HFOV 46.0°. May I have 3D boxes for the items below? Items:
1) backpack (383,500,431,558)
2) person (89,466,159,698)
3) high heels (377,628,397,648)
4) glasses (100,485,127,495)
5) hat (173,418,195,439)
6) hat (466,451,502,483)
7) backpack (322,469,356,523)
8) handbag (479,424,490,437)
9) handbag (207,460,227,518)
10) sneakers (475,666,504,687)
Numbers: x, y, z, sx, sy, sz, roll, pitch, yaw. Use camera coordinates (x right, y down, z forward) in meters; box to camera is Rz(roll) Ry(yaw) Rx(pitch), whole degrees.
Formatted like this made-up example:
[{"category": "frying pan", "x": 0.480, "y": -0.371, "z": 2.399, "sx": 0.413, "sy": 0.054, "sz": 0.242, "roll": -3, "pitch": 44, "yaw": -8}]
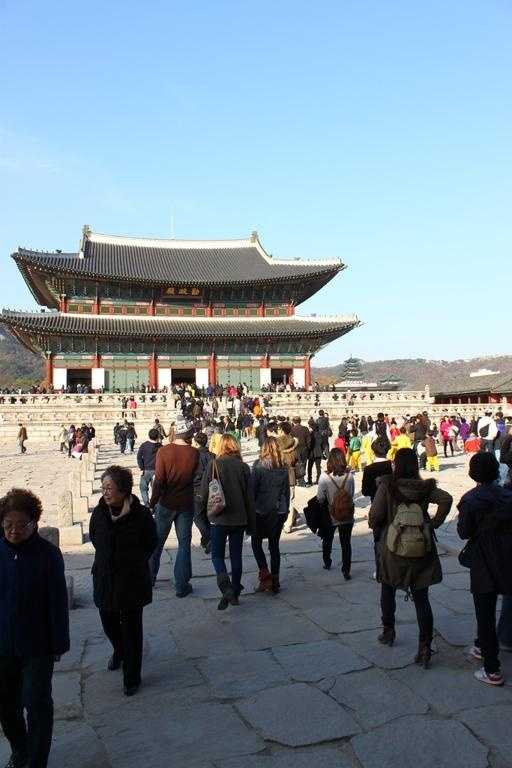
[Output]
[{"category": "backpack", "x": 1.059, "y": 0.992, "z": 4.106, "sx": 0.286, "sy": 0.338, "sz": 0.188, "roll": 0, "pitch": 4, "yaw": 12}, {"category": "person", "x": -0.842, "y": 1.238, "z": 3.871, "sx": 0.422, "sy": 1.440, "sz": 0.326, "roll": -1, "pitch": -2, "yaw": -15}, {"category": "high heels", "x": 0.971, "y": 1.856, "z": 4.433, "sx": 0.077, "sy": 0.161, "sz": 0.165, "roll": 1, "pitch": 5, "yaw": -12}, {"category": "glasses", "x": -0.889, "y": 0.643, "z": 3.772, "sx": 0.117, "sy": 0.074, "sz": 0.094, "roll": 24, "pitch": -18, "yaw": -13}, {"category": "hat", "x": -0.707, "y": 0.428, "z": 5.877, "sx": 0.154, "sy": 0.161, "sz": 0.194, "roll": -1, "pitch": 13, "yaw": 5}, {"category": "hat", "x": 1.513, "y": 0.545, "z": 4.047, "sx": 0.174, "sy": 0.225, "sz": 0.235, "roll": 2, "pitch": 4, "yaw": 5}, {"category": "backpack", "x": 0.853, "y": 1.177, "z": 6.240, "sx": 0.325, "sy": 0.510, "sz": 0.351, "roll": -1, "pitch": -2, "yaw": 6}, {"category": "handbag", "x": 4.183, "y": 0.848, "z": 11.039, "sx": 0.185, "sy": 0.189, "sz": 0.188, "roll": 1, "pitch": -7, "yaw": -2}, {"category": "handbag", "x": -0.332, "y": 0.928, "z": 5.336, "sx": 0.133, "sy": 0.541, "sz": 0.330, "roll": 5, "pitch": -24, "yaw": -24}, {"category": "sneakers", "x": 1.484, "y": 1.835, "z": 3.802, "sx": 0.071, "sy": 0.071, "sz": 0.158, "roll": 6, "pitch": -5, "yaw": -21}]
